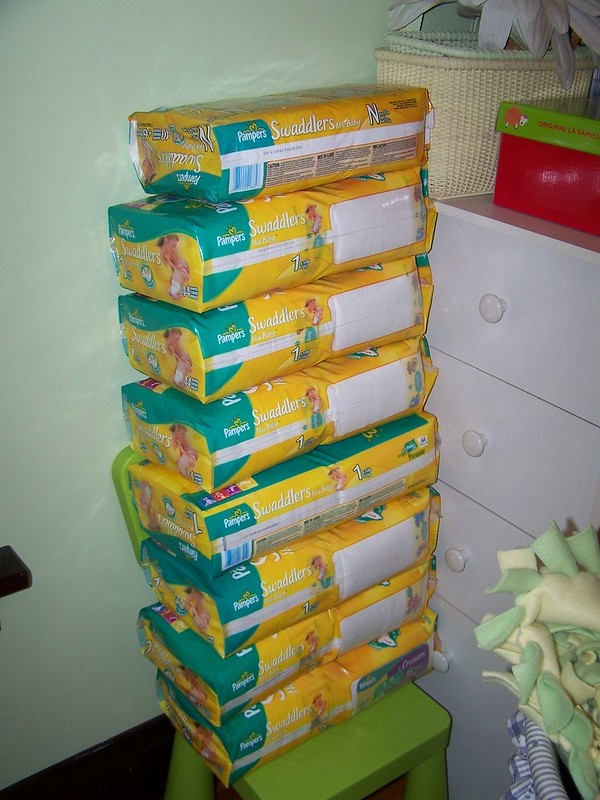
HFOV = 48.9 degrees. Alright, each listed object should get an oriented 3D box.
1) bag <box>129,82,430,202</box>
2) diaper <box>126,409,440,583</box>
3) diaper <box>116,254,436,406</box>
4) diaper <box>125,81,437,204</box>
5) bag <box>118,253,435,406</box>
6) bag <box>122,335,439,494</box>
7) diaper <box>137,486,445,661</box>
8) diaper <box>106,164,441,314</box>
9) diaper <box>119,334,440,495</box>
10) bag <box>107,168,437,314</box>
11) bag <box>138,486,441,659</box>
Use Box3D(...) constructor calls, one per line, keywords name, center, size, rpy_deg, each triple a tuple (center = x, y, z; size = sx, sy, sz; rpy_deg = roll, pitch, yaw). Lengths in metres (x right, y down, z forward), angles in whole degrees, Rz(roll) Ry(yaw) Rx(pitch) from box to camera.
Box3D(name="bag", center=(-0.008, -0.347, 0.927), size=(0.396, 0.110, 0.200), rpy_deg=(-21, 36, -31))
Box3D(name="diaper", center=(0.023, 0.141, 1.109), size=(0.403, 0.127, 0.210), rpy_deg=(-19, 13, -12))
Box3D(name="diaper", center=(-0.004, -0.133, 1.031), size=(0.415, 0.130, 0.194), rpy_deg=(-17, 29, -26))
Box3D(name="diaper", center=(0.007, -0.360, 0.932), size=(0.390, 0.108, 0.203), rpy_deg=(-21, 35, -32))
Box3D(name="bag", center=(-0.005, -0.129, 1.033), size=(0.420, 0.128, 0.201), rpy_deg=(-18, 25, -28))
Box3D(name="bag", center=(-0.002, 0.008, 1.040), size=(0.407, 0.117, 0.216), rpy_deg=(-23, 24, -29))
Box3D(name="diaper", center=(0.009, 0.217, 1.093), size=(0.395, 0.112, 0.222), rpy_deg=(-22, 23, -28))
Box3D(name="diaper", center=(-0.028, -0.224, 0.956), size=(0.408, 0.131, 0.222), rpy_deg=(-23, 30, -29))
Box3D(name="diaper", center=(-0.003, -0.033, 1.027), size=(0.404, 0.117, 0.218), rpy_deg=(-23, 24, -28))
Box3D(name="bag", center=(-0.030, -0.263, 1.002), size=(0.442, 0.140, 0.247), rpy_deg=(-22, 31, -33))
Box3D(name="bag", center=(0.005, 0.261, 1.101), size=(0.395, 0.112, 0.223), rpy_deg=(-22, 23, -29))
